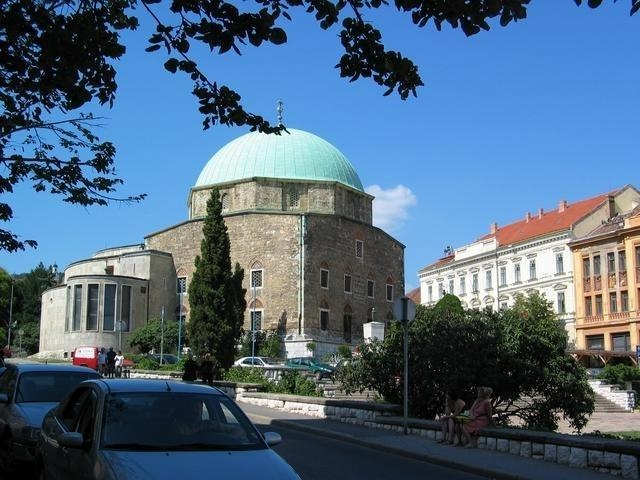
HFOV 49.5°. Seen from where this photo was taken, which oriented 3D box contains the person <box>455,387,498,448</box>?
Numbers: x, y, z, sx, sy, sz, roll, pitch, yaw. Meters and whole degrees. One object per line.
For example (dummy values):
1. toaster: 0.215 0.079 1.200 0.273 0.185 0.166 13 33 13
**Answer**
1. person: 3.467 3.959 15.627 0.752 1.307 0.807 -7 -15 27
